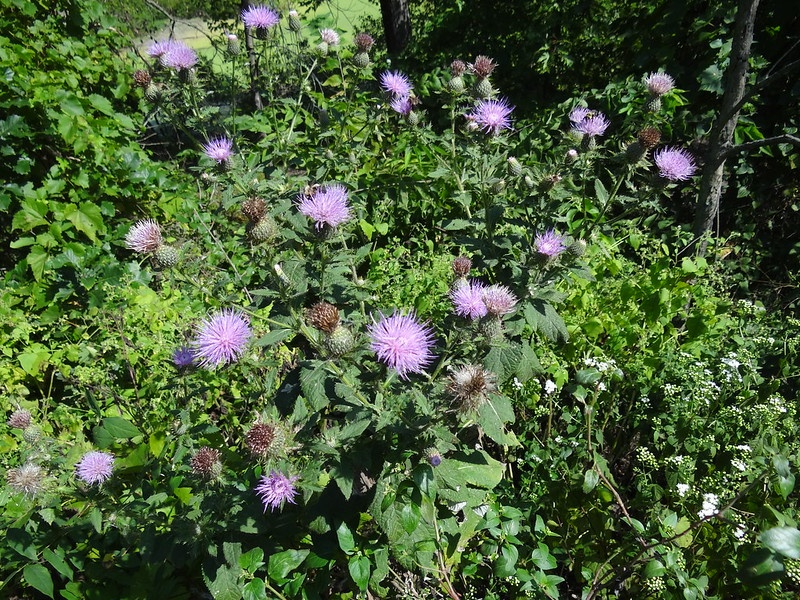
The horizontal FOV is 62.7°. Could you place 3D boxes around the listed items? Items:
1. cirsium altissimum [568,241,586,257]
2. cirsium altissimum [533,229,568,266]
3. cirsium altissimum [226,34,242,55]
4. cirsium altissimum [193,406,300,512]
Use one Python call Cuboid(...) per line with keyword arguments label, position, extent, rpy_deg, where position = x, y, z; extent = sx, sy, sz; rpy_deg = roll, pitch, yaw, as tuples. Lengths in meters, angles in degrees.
Cuboid(label="cirsium altissimum", position=(1.169, -0.335, 4.334), extent=(0.094, 0.104, 0.109), rpy_deg=(-6, 64, -10))
Cuboid(label="cirsium altissimum", position=(0.996, -0.354, 4.394), extent=(0.219, 0.228, 0.221), rpy_deg=(7, 98, -29))
Cuboid(label="cirsium altissimum", position=(-1.359, -2.076, 5.348), extent=(0.091, 0.123, 0.234), rpy_deg=(-3, 79, -10))
Cuboid(label="cirsium altissimum", position=(-0.886, 0.952, 4.029), extent=(0.579, 0.409, 0.628), rpy_deg=(-26, 87, -1))
